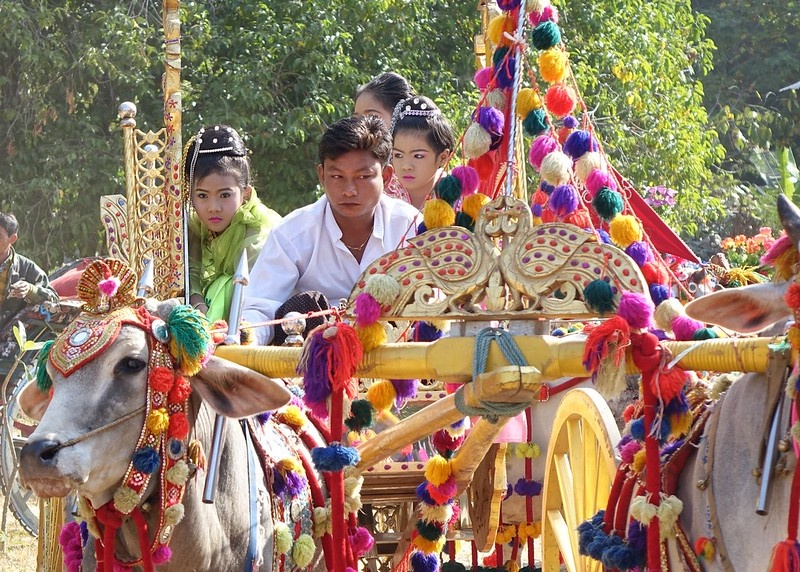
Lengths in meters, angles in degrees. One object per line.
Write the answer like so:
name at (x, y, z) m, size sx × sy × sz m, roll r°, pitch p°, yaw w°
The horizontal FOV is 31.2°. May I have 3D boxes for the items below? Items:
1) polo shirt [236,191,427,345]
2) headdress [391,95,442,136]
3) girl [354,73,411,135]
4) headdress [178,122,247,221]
polo shirt at (-0.426, -0.342, 11.567) m, size 2.241 × 0.876 × 1.082 m, roll -9°, pitch 15°, yaw -15°
headdress at (0.144, -1.539, 12.852) m, size 0.383 × 0.316 × 0.329 m, roll 18°, pitch -30°, yaw -26°
girl at (-0.161, -1.841, 14.031) m, size 0.538 × 0.524 × 0.421 m, roll -14°, pitch -3°, yaw -16°
headdress at (-1.554, -1.087, 11.816) m, size 0.492 × 0.641 × 0.641 m, roll -14°, pitch -47°, yaw 0°
